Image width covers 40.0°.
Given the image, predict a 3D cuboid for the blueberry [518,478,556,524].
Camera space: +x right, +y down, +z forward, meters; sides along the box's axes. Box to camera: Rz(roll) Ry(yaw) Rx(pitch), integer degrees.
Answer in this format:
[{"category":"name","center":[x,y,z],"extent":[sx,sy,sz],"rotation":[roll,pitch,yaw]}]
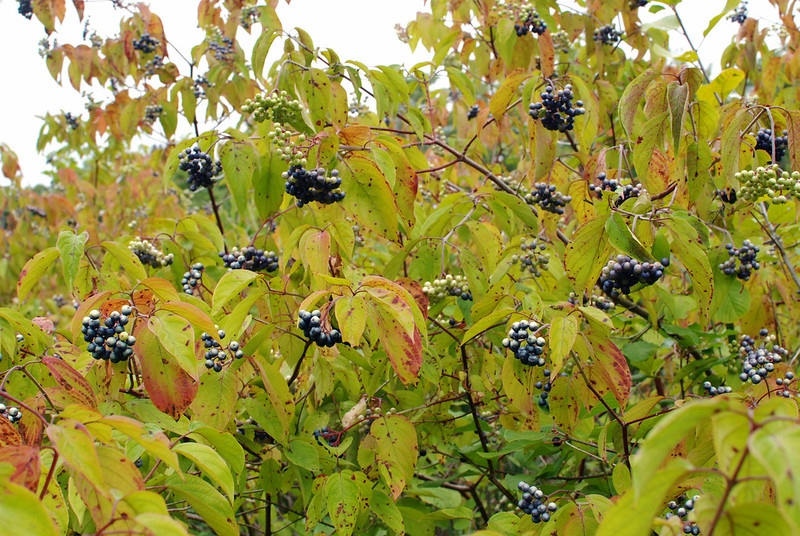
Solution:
[{"category":"blueberry","center":[1.062,1.834,8.759],"extent":[0.165,0.219,0.335],"rotation":[-45,26,-13]}]
